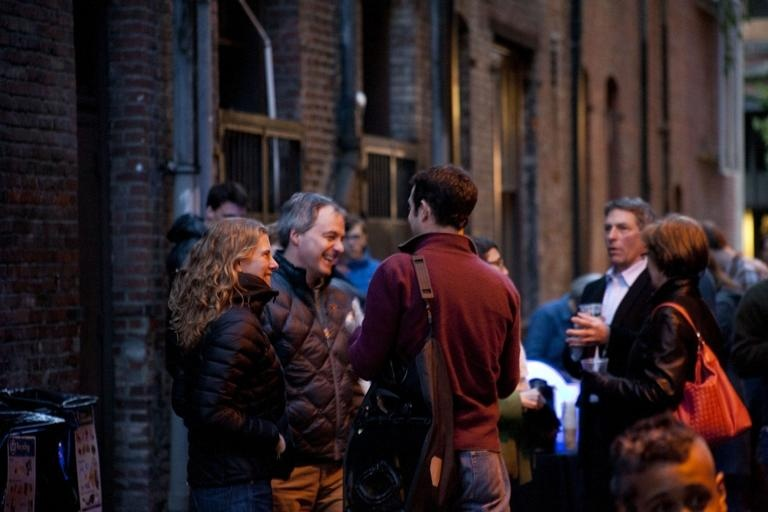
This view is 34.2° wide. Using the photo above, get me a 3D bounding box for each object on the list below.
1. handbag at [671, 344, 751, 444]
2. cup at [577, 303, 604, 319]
[{"bbox_3d":[2.350,1.063,8.985,0.329,0.819,0.613,-9,-23,7],"label":"handbag"},{"bbox_3d":[1.518,0.400,9.190,0.107,0.096,0.116,0,-2,0],"label":"cup"}]
